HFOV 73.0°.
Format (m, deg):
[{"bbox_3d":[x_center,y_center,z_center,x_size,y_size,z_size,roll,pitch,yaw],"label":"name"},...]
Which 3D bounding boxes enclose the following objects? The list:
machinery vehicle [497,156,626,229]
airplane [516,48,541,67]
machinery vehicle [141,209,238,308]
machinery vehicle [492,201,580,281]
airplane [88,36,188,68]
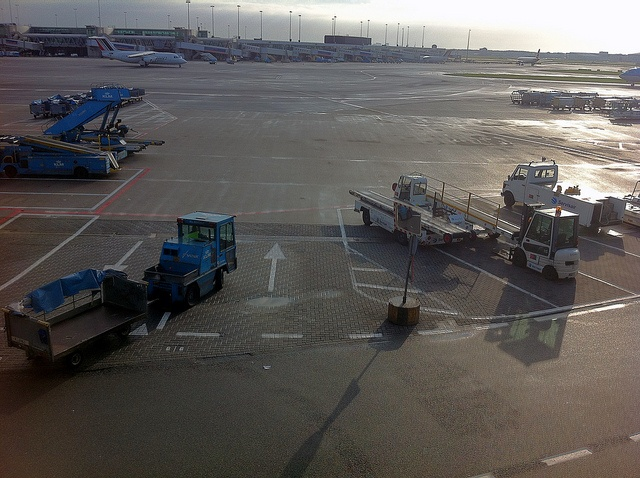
[{"bbox_3d":[15.260,-3.245,28.485,2.454,2.788,5.873,-5,21,-26],"label":"machinery vehicle"},{"bbox_3d":[176.029,-151.437,362.927,12.219,11.272,302.093,12,25,22],"label":"airplane"},{"bbox_3d":[-5.383,0.709,18.173,2.466,3.011,3.974,11,19,22],"label":"machinery vehicle"},{"bbox_3d":[11.117,-0.122,22.089,2.092,3.084,4.709,-9,18,-12],"label":"machinery vehicle"},{"bbox_3d":[-62.584,-63.929,148.944,28.359,8.295,12.967,14,26,25],"label":"airplane"}]
